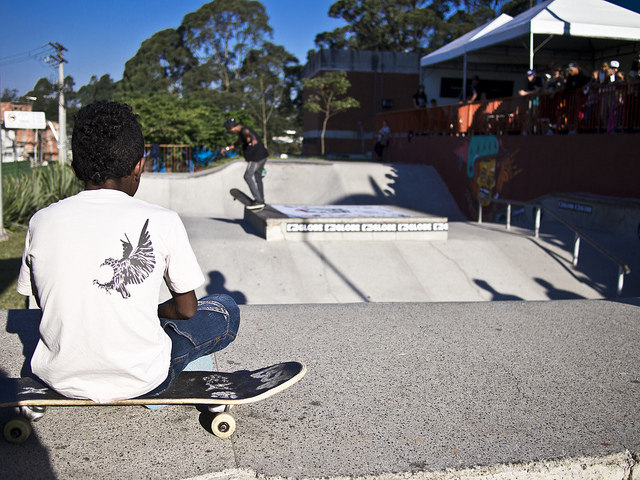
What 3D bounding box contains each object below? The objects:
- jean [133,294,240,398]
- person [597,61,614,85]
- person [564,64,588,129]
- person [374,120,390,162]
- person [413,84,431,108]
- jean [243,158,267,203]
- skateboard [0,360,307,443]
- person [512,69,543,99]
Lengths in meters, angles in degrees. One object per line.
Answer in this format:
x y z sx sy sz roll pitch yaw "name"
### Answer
-0.819 0.692 4.244 0.550 0.178 0.525 -22 42 -26 "jean"
5.742 -3.324 12.129 0.291 0.459 0.870 5 12 24 "person"
5.421 -2.996 12.726 0.388 1.319 0.884 -1 10 -6 "person"
2.392 -3.804 23.389 0.545 1.520 1.044 1 10 3 "person"
3.493 -4.984 21.037 0.403 0.779 1.160 2 11 9 "person"
-1.348 -1.228 12.517 0.428 0.942 0.766 -1 10 -7 "jean"
-1.176 1.127 4.149 1.675 0.366 0.480 3 8 -15 "skateboard"
5.184 -3.822 14.947 0.847 0.710 0.471 -21 18 -30 "person"
